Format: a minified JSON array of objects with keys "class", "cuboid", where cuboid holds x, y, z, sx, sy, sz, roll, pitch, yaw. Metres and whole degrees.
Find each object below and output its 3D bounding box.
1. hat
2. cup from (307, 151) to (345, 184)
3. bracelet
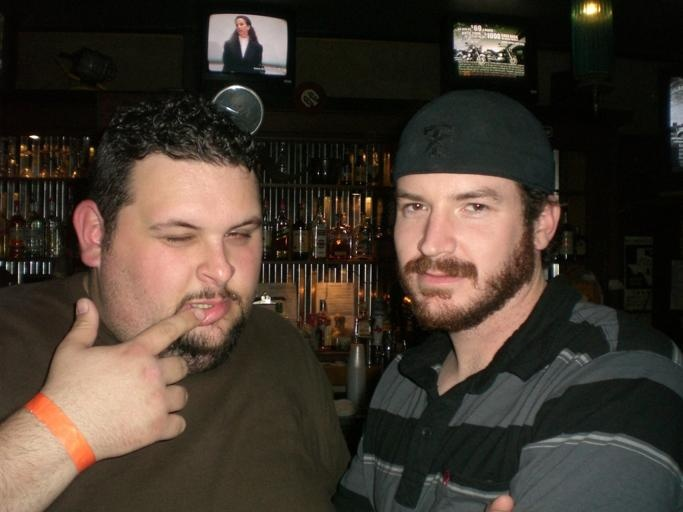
[{"class":"hat","cuboid":[0.499,-0.434,2.661,0.448,0.271,0.446,4,4,-34]},{"class":"cup","cuboid":[-0.125,-0.713,5.776,0.252,0.188,0.198,6,8,42]},{"class":"bracelet","cuboid":[-0.903,0.562,2.247,0.235,0.257,0.035,5,-2,-4]}]
